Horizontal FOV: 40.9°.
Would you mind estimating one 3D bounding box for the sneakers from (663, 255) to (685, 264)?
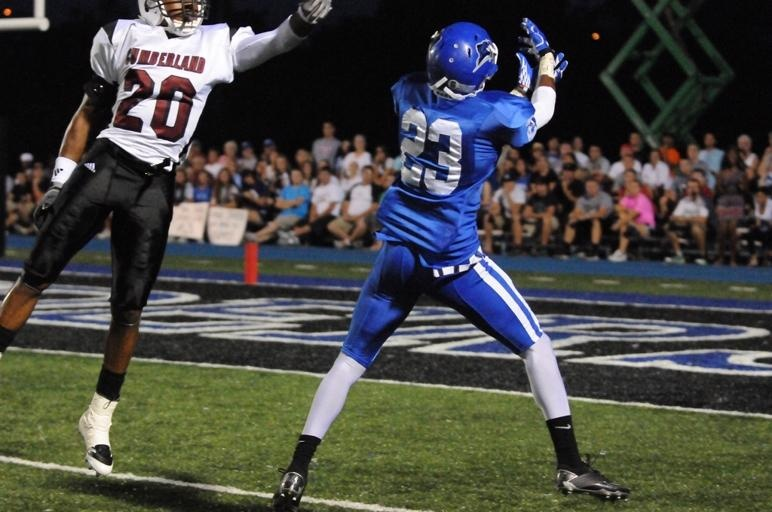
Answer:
[{"bbox_3d":[3.956,0.049,14.178,0.320,0.116,0.105,-3,11,-19],"label":"sneakers"}]

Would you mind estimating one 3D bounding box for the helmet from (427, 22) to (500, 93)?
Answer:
[{"bbox_3d":[0.477,-1.229,6.508,0.439,0.480,0.256,1,10,1],"label":"helmet"}]

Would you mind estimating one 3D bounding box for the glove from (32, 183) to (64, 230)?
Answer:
[{"bbox_3d":[-2.234,-0.301,6.811,0.101,0.290,0.239,40,-7,-25],"label":"glove"}]

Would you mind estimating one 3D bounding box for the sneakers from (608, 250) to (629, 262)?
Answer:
[{"bbox_3d":[3.286,0.012,14.615,0.214,0.104,0.121,1,3,31],"label":"sneakers"}]
